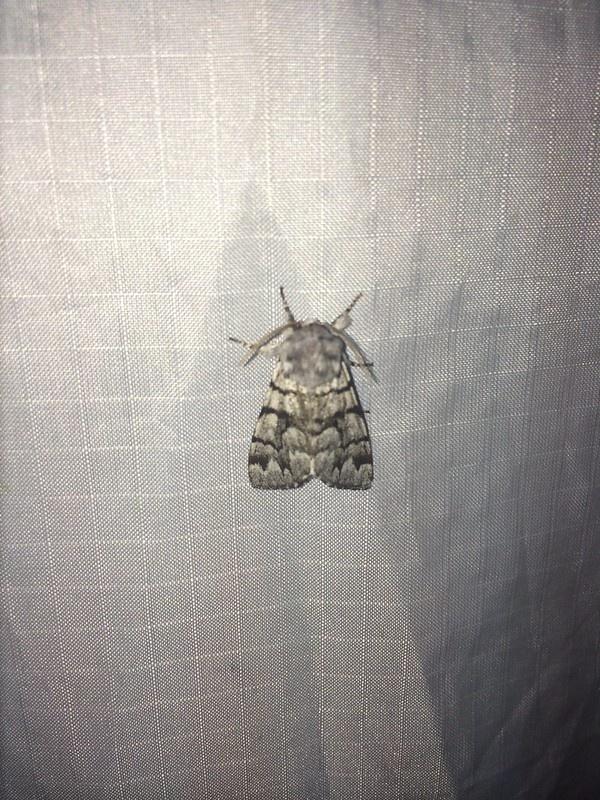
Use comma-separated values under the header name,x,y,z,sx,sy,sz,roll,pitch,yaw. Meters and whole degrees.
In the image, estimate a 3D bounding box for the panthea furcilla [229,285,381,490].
name,x,y,z,sx,sy,sz,roll,pitch,yaw
panthea furcilla,0.010,-0.033,1.137,0.201,0.080,0.256,0,-69,-4
